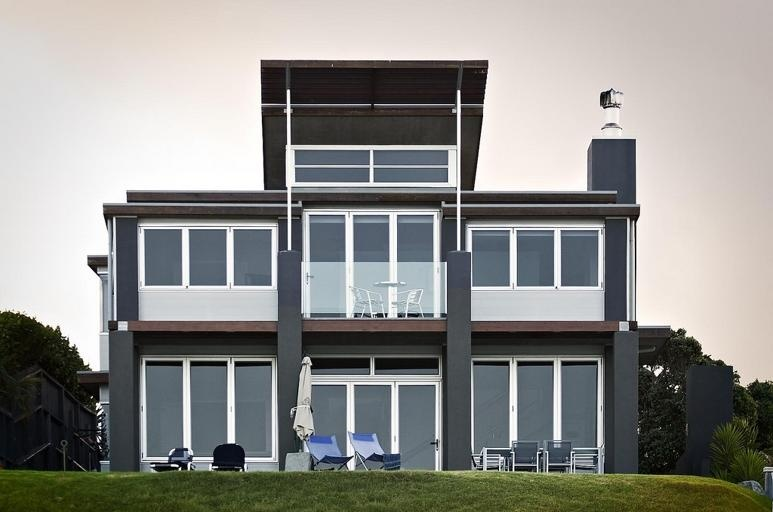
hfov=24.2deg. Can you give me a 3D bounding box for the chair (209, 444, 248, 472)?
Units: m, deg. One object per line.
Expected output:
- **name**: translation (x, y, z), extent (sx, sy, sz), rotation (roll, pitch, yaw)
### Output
- **chair**: translation (-7.295, 9.160, 82.773), extent (1.457, 1.473, 1.238), rotation (0, -13, -1)

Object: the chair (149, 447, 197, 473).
- **chair**: translation (-9.871, 9.367, 83.303), extent (1.066, 1.060, 1.694), rotation (-5, -12, 19)

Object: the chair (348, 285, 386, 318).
- **chair**: translation (-1.021, 2.110, 84.693), extent (1.455, 2.039, 1.407), rotation (-12, -16, 38)

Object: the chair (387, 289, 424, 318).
- **chair**: translation (0.970, 2.202, 85.029), extent (1.298, 1.253, 1.250), rotation (0, -6, -1)

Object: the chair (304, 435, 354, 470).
- **chair**: translation (-2.864, 8.973, 82.924), extent (1.486, 1.471, 1.960), rotation (7, -14, -28)

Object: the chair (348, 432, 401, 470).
- **chair**: translation (-0.634, 8.997, 83.138), extent (1.515, 1.647, 2.231), rotation (5, -7, -35)

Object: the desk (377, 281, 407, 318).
- **desk**: translation (0.120, 1.960, 84.614), extent (1.437, 1.644, 1.420), rotation (3, -12, -19)
